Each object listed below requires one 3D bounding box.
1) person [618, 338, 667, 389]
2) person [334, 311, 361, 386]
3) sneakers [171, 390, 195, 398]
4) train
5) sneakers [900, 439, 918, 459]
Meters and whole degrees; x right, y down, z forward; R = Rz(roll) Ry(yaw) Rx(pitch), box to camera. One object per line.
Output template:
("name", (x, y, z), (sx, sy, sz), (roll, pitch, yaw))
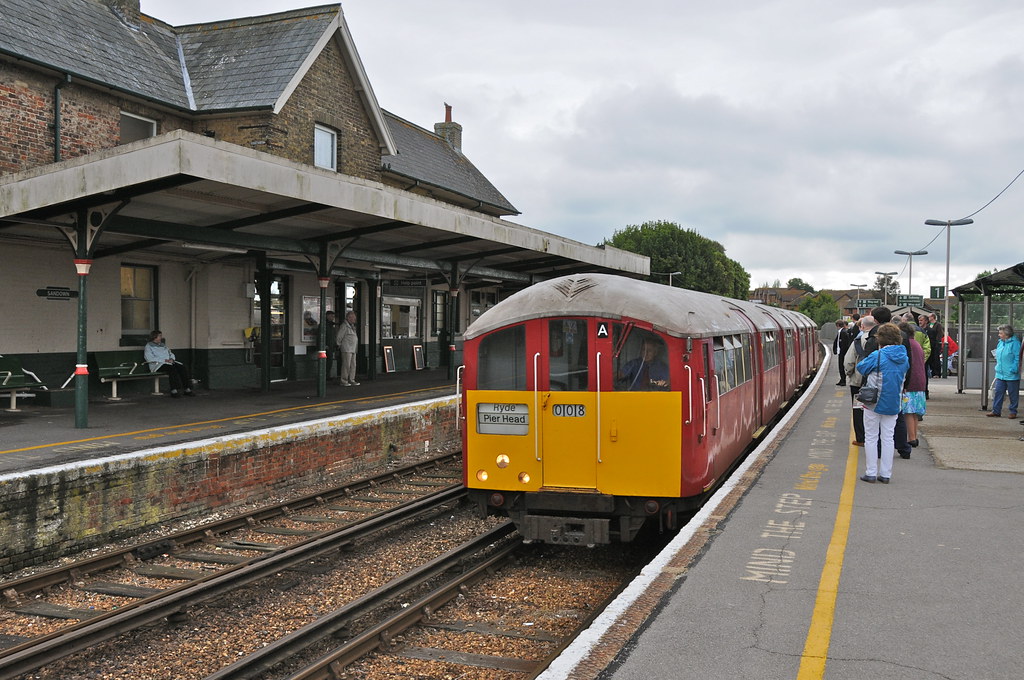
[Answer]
("person", (1.671, 0.390, 11.275), (0.602, 0.786, 0.447), (0, -13, 4))
("person", (-4.557, 0.235, 24.336), (0.569, 1.935, 1.591), (-2, -1, -11))
("sneakers", (-7.770, 1.286, 20.831), (0.503, 0.205, 0.171), (-1, 2, -5))
("train", (2.327, 1.042, 13.463), (2.626, 3.596, 6.163), (-2, -1, 36))
("sneakers", (6.610, 1.834, 14.706), (0.209, 0.250, 0.583), (-3, 6, 21))
